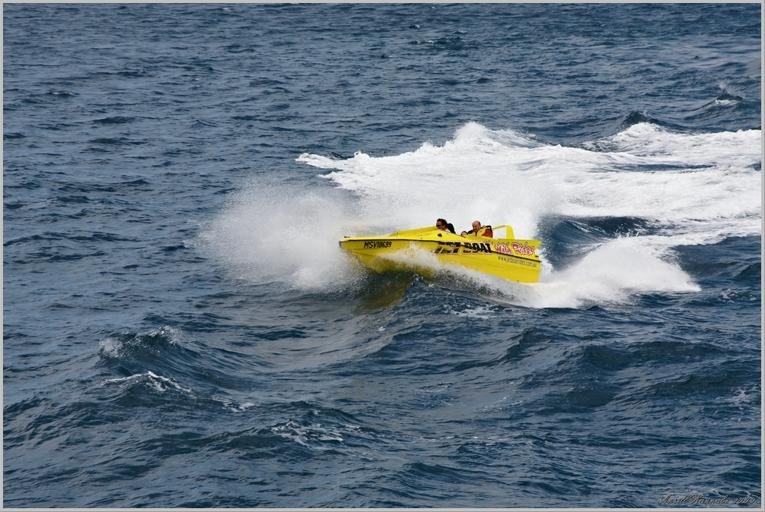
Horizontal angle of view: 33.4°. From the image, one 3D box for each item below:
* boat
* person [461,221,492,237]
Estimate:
[{"bbox_3d":[1.695,-0.197,51.759,10.320,1.640,2.517,3,5,-10],"label":"boat"},{"bbox_3d":[3.878,-1.041,51.596,1.235,0.277,0.935,-4,15,-16],"label":"person"}]
